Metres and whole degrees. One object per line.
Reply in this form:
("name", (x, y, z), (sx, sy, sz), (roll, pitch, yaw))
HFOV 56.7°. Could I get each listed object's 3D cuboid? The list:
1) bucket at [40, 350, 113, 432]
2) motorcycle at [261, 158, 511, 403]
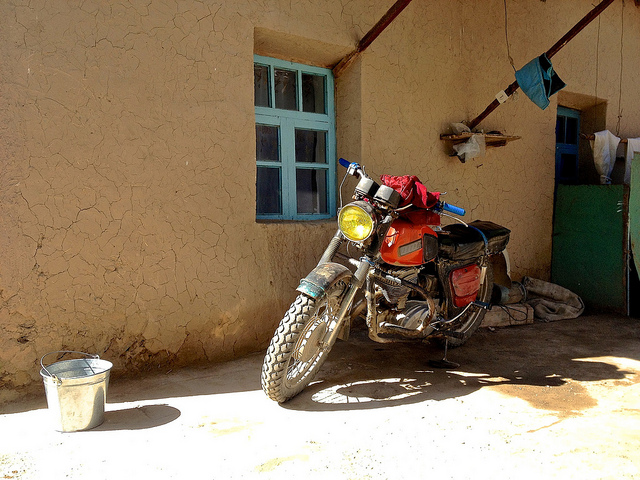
("bucket", (-1.652, 1.009, 4.010), (0.477, 0.441, 0.452), (-1, 4, 0))
("motorcycle", (0.624, 0.235, 4.716), (2.785, 1.583, 1.089), (-8, 21, -44))
